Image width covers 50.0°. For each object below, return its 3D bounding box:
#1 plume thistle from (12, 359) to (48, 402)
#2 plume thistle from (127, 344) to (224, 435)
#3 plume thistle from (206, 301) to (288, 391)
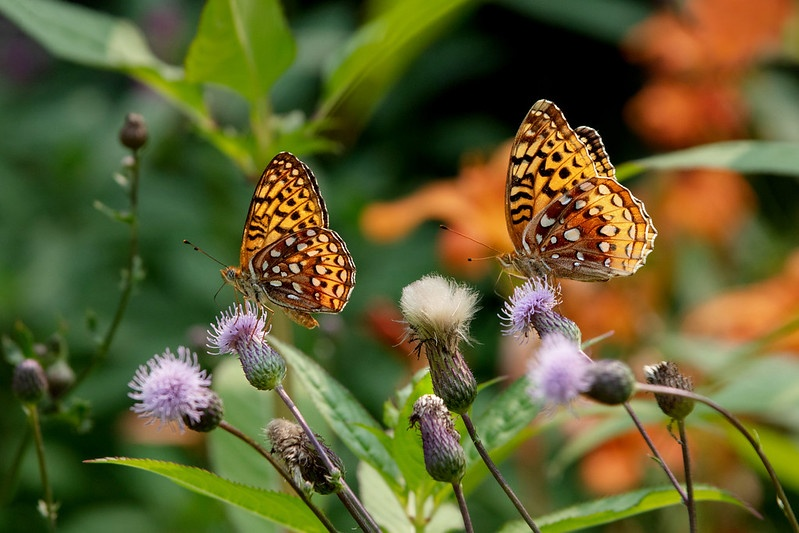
[{"bbox_3d":[-1.408,0.425,3.251,0.107,0.193,0.148,-5,-18,-31],"label":"plume thistle"},{"bbox_3d":[-0.796,0.459,3.217,0.305,0.237,0.335,0,-44,4],"label":"plume thistle"},{"bbox_3d":[-0.518,0.279,3.262,0.227,0.352,0.244,-18,0,7],"label":"plume thistle"}]
